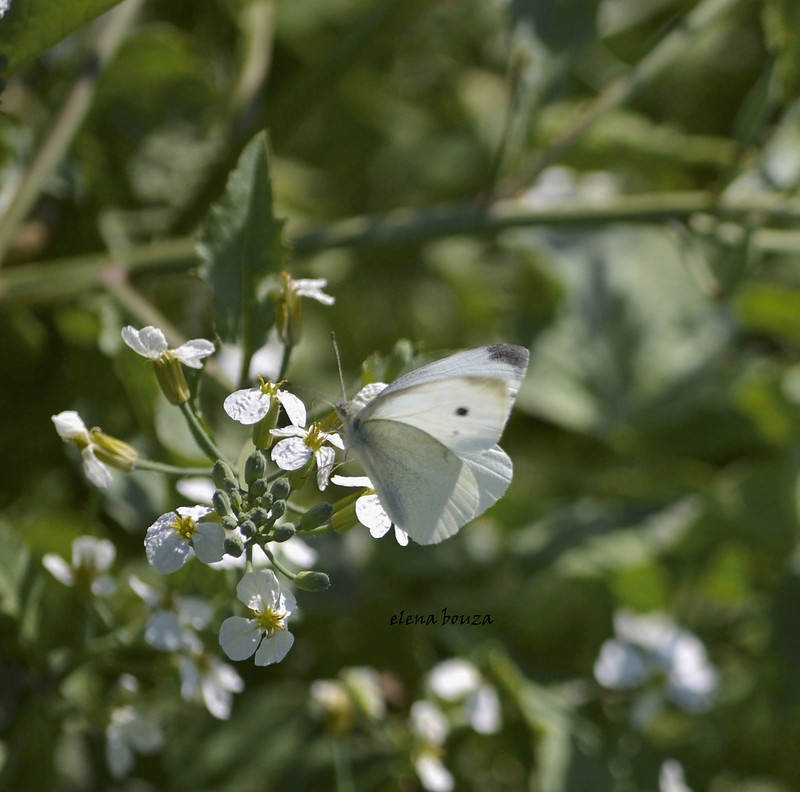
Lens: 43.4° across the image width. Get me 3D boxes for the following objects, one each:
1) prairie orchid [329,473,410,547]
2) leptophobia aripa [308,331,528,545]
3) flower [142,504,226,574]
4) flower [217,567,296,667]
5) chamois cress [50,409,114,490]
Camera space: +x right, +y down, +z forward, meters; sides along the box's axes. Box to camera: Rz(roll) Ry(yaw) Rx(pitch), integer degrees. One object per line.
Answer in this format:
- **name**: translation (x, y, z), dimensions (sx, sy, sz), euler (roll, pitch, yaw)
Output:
- **prairie orchid**: translation (-0.040, 0.175, 1.506), dimensions (0.046, 0.137, 0.312), euler (-34, -9, -4)
- **leptophobia aripa**: translation (0.015, 0.027, 1.560), dimensions (0.386, 0.339, 0.236), euler (-5, 24, -13)
- **flower**: translation (-0.279, 0.178, 1.302), dimensions (0.097, 0.089, 0.046), euler (11, -5, -15)
- **flower**: translation (-0.174, 0.280, 1.294), dimensions (0.120, 0.113, 0.037), euler (-40, 5, 3)
- **chamois cress**: translation (-0.427, 0.071, 1.376), dimensions (0.035, 0.114, 0.045), euler (-37, 16, 25)
